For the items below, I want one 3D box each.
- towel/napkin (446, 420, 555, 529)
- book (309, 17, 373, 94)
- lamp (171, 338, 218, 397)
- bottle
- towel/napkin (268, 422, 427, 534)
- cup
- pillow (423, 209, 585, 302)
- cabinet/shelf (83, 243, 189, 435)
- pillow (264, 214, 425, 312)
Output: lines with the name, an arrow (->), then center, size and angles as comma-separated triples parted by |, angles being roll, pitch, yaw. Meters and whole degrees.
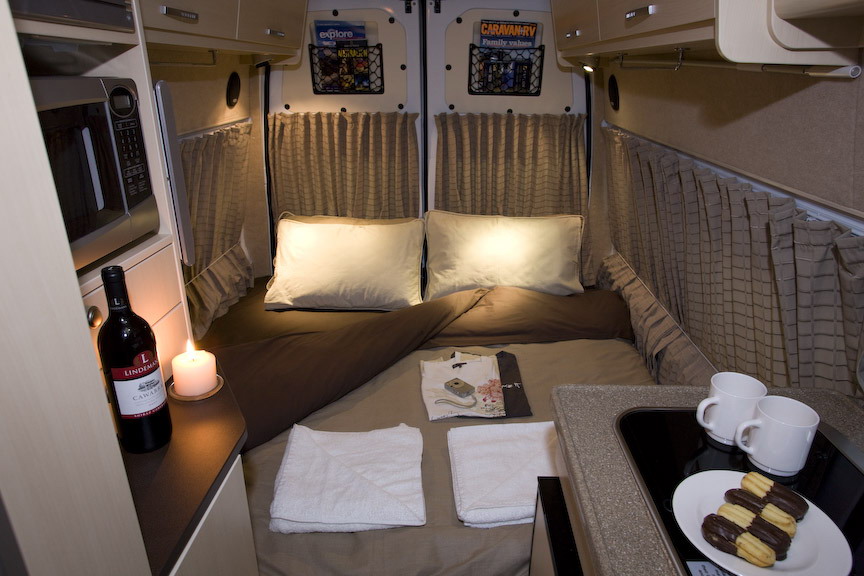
towel/napkin -> 0.218, 0.566, 1.831 | 0.325, 0.138, 0.329 | 0, 18, 0
book -> -0.481, -1.200, 3.168 | 0.341, 0.010, 0.388 | -5, -26, -13
lamp -> -0.640, 0.220, 1.604 | 0.114, 0.129, 0.115 | 12, 19, 1
bottle -> -0.672, 0.154, 1.318 | 0.123, 0.449, 0.124 | 0, 18, 0
towel/napkin -> -0.254, 0.577, 1.820 | 0.442, 0.151, 0.339 | -1, 18, -2
cup -> 0.652, 0.265, 1.197 | 0.205, 0.154, 0.135 | 12, 22, 34
pillow -> 0.371, -0.157, 3.105 | 0.855, 0.521, 0.249 | 1, -16, 3
cabinet/shelf -> -0.670, 0.114, 1.325 | 0.125, 0.356, 0.379 | 0, 18, 0
pillow -> -0.635, -0.020, 3.227 | 0.886, 0.222, 0.654 | 0, -17, 20
